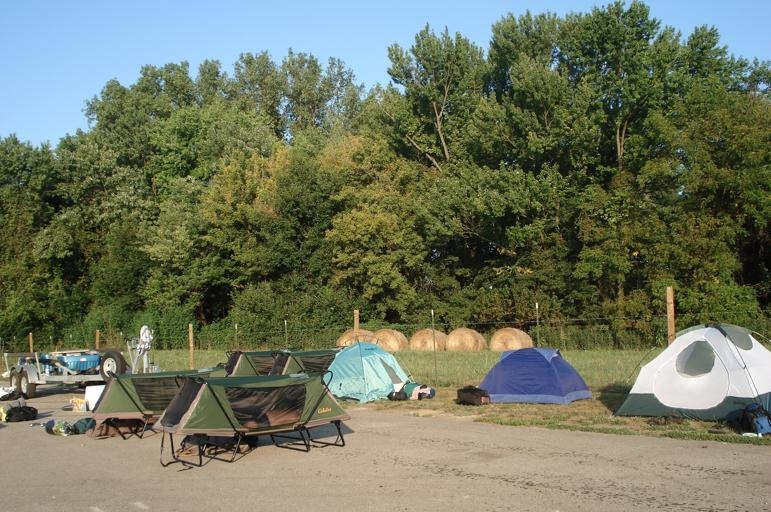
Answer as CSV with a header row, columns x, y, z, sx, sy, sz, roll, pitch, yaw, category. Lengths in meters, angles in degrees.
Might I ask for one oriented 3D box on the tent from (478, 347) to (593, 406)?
x,y,z,sx,sy,sz,roll,pitch,yaw,category
6.337,5.243,34.888,2.748,1.431,3.041,-3,-3,24,tent
